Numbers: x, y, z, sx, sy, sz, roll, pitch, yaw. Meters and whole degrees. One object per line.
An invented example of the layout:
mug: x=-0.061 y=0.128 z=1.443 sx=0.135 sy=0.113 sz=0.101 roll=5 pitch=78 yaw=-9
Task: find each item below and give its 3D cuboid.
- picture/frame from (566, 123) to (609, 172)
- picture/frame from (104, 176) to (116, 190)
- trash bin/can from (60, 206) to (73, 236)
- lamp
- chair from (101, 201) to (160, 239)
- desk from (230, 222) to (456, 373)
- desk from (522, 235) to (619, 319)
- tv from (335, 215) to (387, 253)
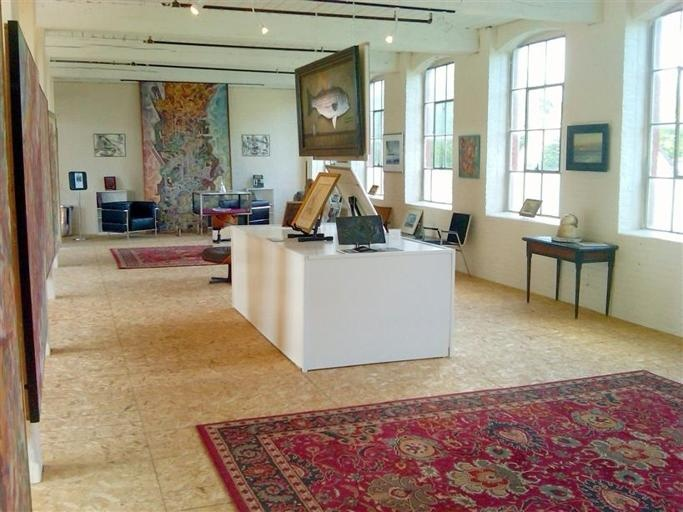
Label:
picture/frame: x=3.967 y=-1.738 z=7.965 sx=0.060 sy=0.842 sz=0.879 roll=-4 pitch=-3 yaw=-28
picture/frame: x=-7.913 y=-2.503 z=17.076 sx=0.410 sy=0.472 sz=0.227 roll=-5 pitch=11 yaw=-28
trash bin/can: x=-9.239 y=-1.191 z=16.777 sx=0.298 sy=1.002 sz=0.586 roll=-2 pitch=10 yaw=-10
lamp: x=-0.380 y=-4.337 z=8.903 sx=4.056 sy=0.264 sz=0.820 roll=-2 pitch=10 yaw=-13
chair: x=-6.911 y=-1.201 z=16.151 sx=1.330 sy=1.062 sz=1.378 roll=3 pitch=4 yaw=41
desk: x=0.206 y=0.018 z=6.118 sx=1.751 sy=1.082 sz=2.530 roll=0 pitch=8 yaw=-23
desk: x=3.650 y=0.311 z=7.983 sx=0.815 sy=1.174 sz=1.101 roll=-4 pitch=11 yaw=-22
tv: x=0.212 y=-0.290 z=5.986 sx=0.778 sy=0.504 sz=0.392 roll=-2 pitch=2 yaw=-14
